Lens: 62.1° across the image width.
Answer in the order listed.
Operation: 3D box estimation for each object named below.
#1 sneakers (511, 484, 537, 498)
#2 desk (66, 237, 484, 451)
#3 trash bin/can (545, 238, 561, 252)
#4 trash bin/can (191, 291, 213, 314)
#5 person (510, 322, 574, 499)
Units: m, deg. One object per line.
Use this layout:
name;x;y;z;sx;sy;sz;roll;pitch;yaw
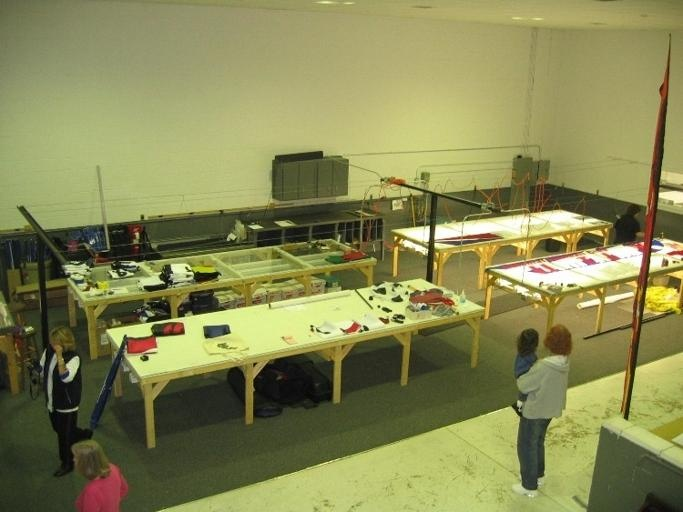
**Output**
sneakers;1.881;2.415;5.875;0.226;0.095;0.106;18;15;29
desk;-0.514;1.245;7.481;4.385;1.107;1.225;-8;16;-24
trash bin/can;4.891;-0.244;13.117;0.332;0.307;0.327;-10;21;-29
trash bin/can;-2.108;0.679;8.783;0.331;0.380;0.333;-6;28;-22
person;1.990;1.561;5.646;0.447;1.800;0.446;5;18;25
